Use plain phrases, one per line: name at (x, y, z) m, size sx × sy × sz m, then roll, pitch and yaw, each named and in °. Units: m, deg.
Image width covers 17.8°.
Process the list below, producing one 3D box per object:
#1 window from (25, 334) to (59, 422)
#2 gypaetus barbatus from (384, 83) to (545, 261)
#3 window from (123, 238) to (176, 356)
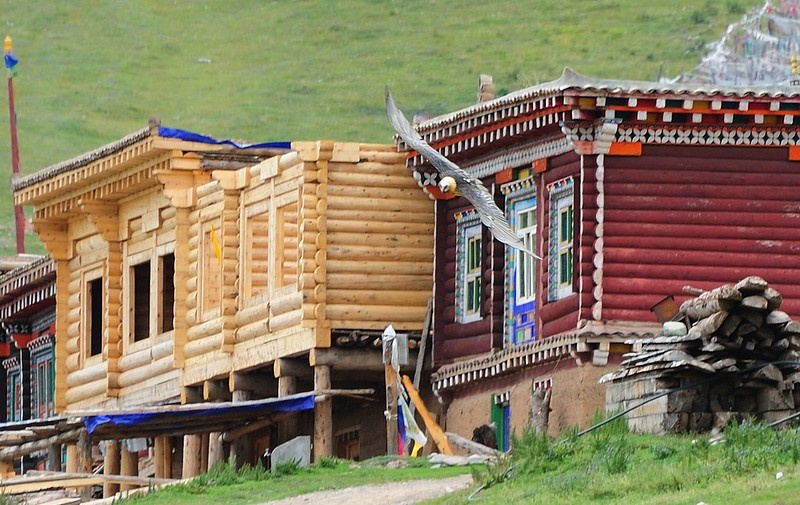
window at (-13.998, 5.220, 100.170) m, size 0.576 × 3.177 × 3.512 m, roll 4°, pitch -10°, yaw -26°
gypaetus barbatus at (2.137, -2.531, 86.632) m, size 4.440 × 6.112 × 4.154 m, roll -9°, pitch -10°, yaw 26°
window at (-9.205, 1.815, 94.027) m, size 0.267 × 4.603 × 4.644 m, roll 6°, pitch -8°, yaw -39°
